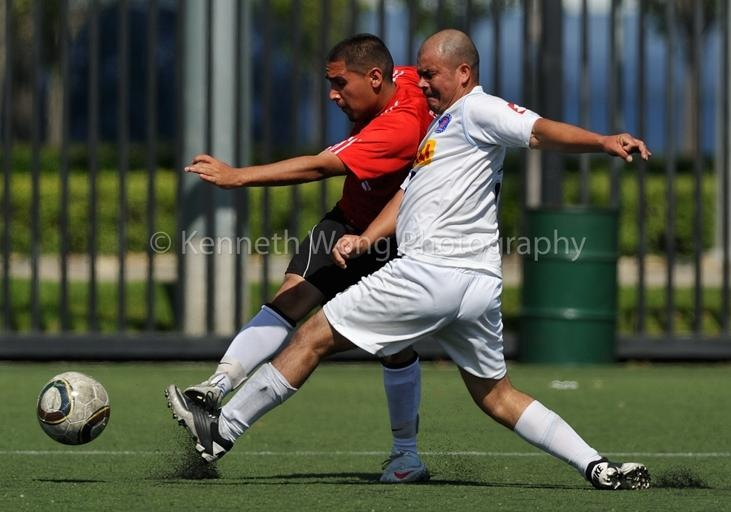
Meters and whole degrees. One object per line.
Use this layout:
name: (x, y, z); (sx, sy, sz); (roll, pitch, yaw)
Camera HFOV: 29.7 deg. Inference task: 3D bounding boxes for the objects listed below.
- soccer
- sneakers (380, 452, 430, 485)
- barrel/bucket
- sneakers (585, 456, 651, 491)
soccer: (-2.091, 1.089, 10.151); (0.485, 0.568, 0.523); (-1, 5, 15)
sneakers: (0.284, 1.542, 9.956); (0.343, 0.220, 0.176); (-1, -5, -6)
barrel/bucket: (1.976, 0.266, 14.185); (1.254, 2.079, 1.326); (1, 1, 0)
sneakers: (1.740, 1.506, 9.544); (0.333, 0.154, 0.218); (1, -1, -3)
